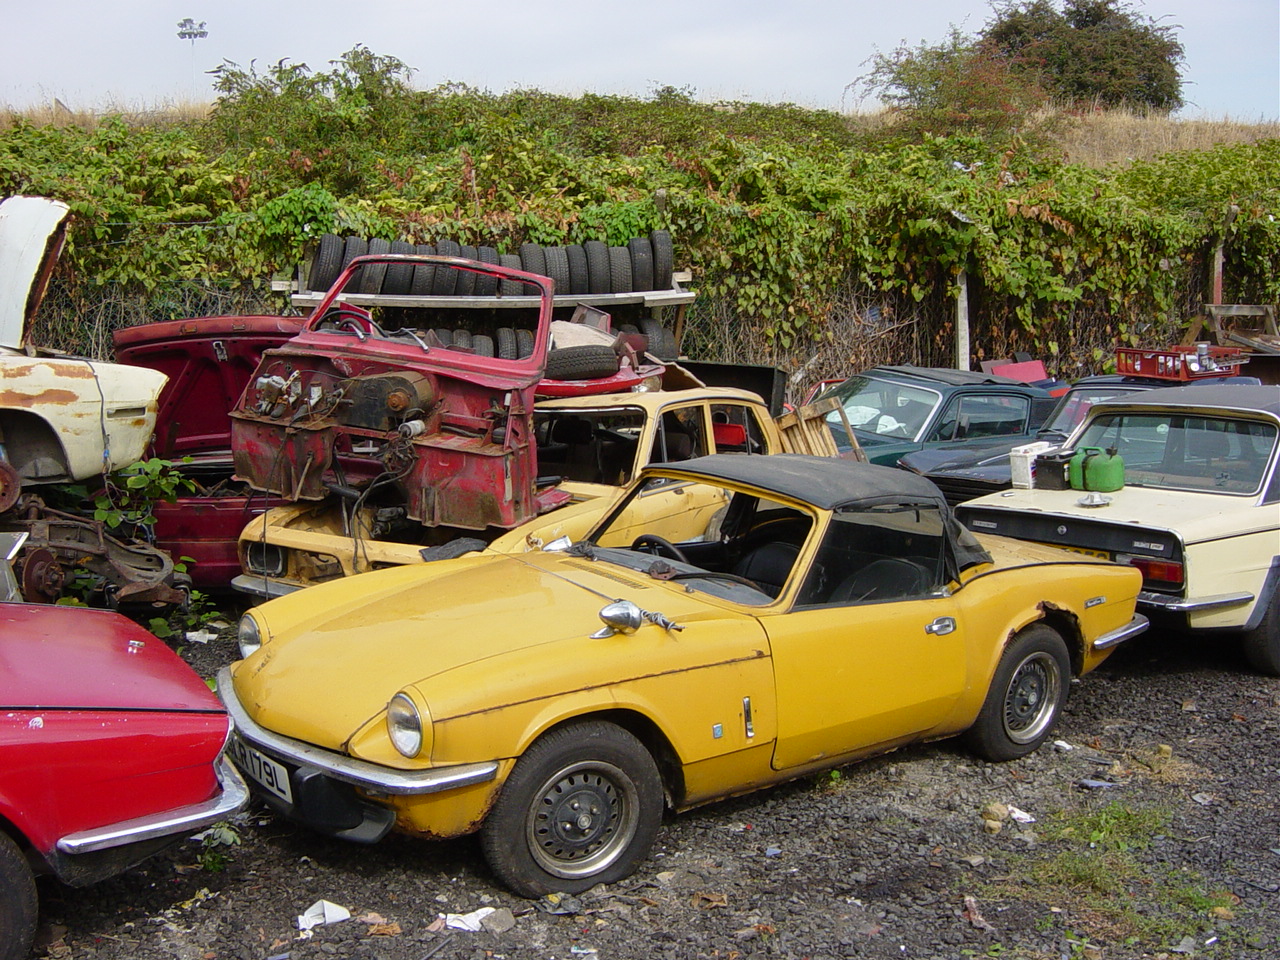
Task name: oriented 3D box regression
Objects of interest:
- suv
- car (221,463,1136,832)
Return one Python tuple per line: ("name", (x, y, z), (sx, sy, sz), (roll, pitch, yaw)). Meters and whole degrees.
("suv", (3.008, -0.714, 10.253), (2.081, 0.713, 1.138), (-4, 8, -28))
("car", (0.215, 0.728, 4.716), (4.013, 1.511, 1.327), (-4, 16, -28))
